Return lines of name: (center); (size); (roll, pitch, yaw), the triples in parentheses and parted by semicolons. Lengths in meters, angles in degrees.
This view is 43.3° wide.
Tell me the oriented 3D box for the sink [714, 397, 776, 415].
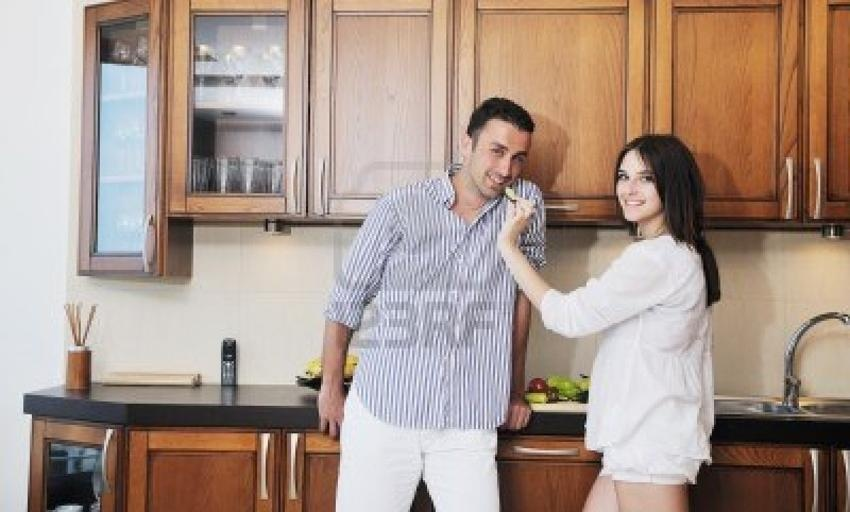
sink: (1.627, 0.763, 5.447); (0.305, 0.080, 0.429); (-1, 0, 17)
